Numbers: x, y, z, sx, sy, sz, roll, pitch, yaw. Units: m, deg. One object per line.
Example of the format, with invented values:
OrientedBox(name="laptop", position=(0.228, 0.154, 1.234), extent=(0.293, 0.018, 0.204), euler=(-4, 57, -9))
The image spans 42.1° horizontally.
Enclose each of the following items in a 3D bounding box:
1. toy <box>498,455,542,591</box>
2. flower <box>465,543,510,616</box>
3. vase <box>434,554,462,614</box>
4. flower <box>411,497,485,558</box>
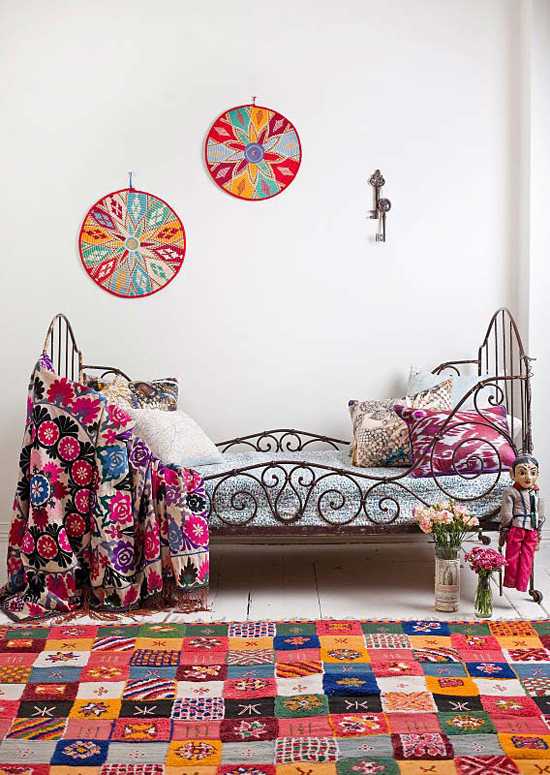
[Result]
OrientedBox(name="toy", position=(0.870, 0.479, 2.570), extent=(0.138, 0.471, 0.115), euler=(-1, -1, -3))
OrientedBox(name="flower", position=(0.733, 0.665, 2.476), extent=(0.121, 0.238, 0.188), euler=(-1, -1, 22))
OrientedBox(name="vase", position=(0.608, 0.697, 2.539), extent=(0.079, 0.191, 0.049), euler=(-1, -1, 7))
OrientedBox(name="flower", position=(0.628, 0.538, 2.577), extent=(0.239, 0.224, 0.237), euler=(-14, -22, 36))
